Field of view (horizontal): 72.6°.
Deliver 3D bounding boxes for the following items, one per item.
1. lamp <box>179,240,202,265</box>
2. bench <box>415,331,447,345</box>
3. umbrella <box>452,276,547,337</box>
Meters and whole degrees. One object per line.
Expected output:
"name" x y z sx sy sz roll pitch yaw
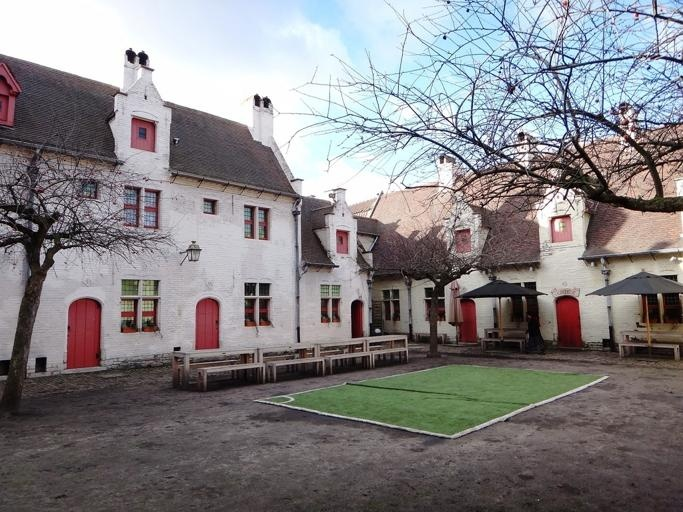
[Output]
"lamp" -6.159 -0.152 19.269 1.331 0.653 0.786 -9 -11 34
"bench" 5.614 5.016 28.839 2.301 0.634 0.515 -4 -4 44
"umbrella" 7.986 2.325 23.591 3.499 2.002 3.417 0 -2 -41
